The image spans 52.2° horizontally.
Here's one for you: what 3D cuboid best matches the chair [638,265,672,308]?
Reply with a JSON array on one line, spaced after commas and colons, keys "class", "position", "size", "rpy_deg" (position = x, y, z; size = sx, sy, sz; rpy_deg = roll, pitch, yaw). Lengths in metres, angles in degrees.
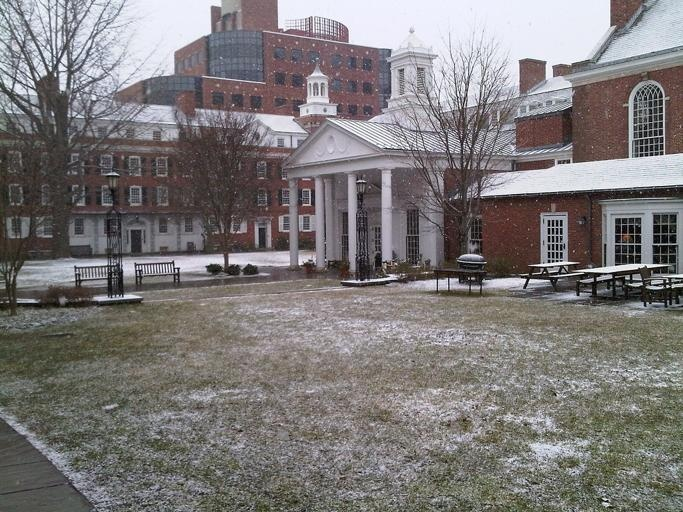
[{"class": "chair", "position": [8.799, 0.823, 19.386], "size": [0.721, 1.137, 0.862], "rpy_deg": [-1, 2, 33]}]
